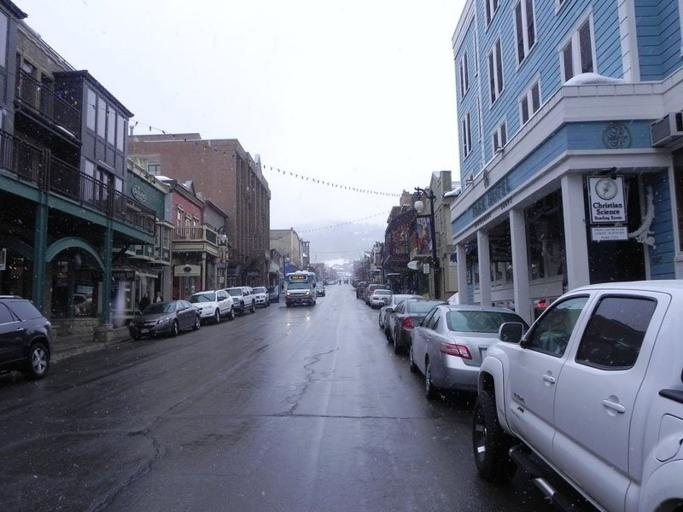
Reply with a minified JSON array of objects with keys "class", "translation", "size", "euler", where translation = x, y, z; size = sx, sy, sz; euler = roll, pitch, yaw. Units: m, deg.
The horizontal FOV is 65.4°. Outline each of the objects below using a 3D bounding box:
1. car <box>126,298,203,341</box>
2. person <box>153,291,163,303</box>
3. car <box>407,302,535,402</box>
[{"class":"car","translation":[-7.183,2.558,22.212],"size":[1.107,1.068,2.961],"euler":[-4,-10,8]},{"class":"person","translation":[-11.355,2.534,32.869],"size":[0.386,0.482,1.158],"euler":[11,5,-19]},{"class":"car","translation":[2.031,1.632,9.531],"size":[0.960,1.100,2.726],"euler":[0,-1,-3]}]
